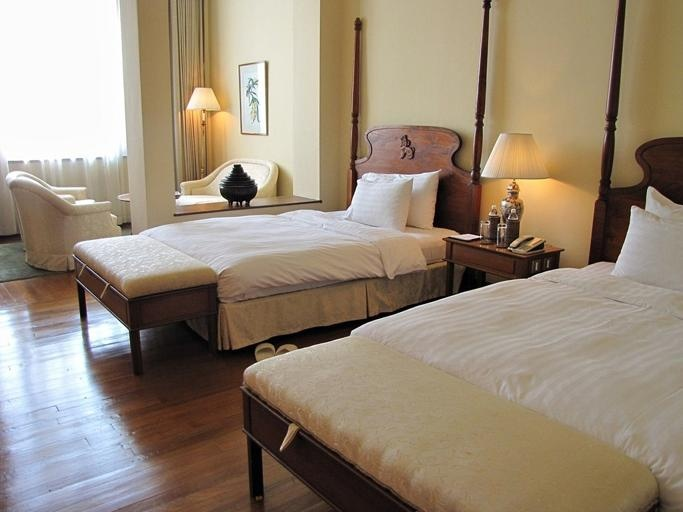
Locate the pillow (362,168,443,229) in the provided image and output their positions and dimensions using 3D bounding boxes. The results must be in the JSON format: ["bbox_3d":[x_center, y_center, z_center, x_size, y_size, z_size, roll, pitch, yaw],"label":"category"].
[{"bbox_3d":[0.688,-0.506,4.745,0.272,0.500,0.768,3,4,-23],"label":"pillow"}]

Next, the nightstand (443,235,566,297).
[{"bbox_3d":[1.176,0.105,3.987,0.628,0.476,0.415,20,33,41],"label":"nightstand"}]

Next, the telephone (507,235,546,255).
[{"bbox_3d":[1.324,-0.085,3.672,0.187,0.068,0.138,-7,15,-27],"label":"telephone"}]

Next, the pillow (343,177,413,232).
[{"bbox_3d":[0.324,-0.469,4.564,0.229,0.445,0.635,-1,9,-38],"label":"pillow"}]

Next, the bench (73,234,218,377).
[{"bbox_3d":[-1.409,0.251,3.668,0.602,0.576,1.251,-11,21,-38],"label":"bench"}]
